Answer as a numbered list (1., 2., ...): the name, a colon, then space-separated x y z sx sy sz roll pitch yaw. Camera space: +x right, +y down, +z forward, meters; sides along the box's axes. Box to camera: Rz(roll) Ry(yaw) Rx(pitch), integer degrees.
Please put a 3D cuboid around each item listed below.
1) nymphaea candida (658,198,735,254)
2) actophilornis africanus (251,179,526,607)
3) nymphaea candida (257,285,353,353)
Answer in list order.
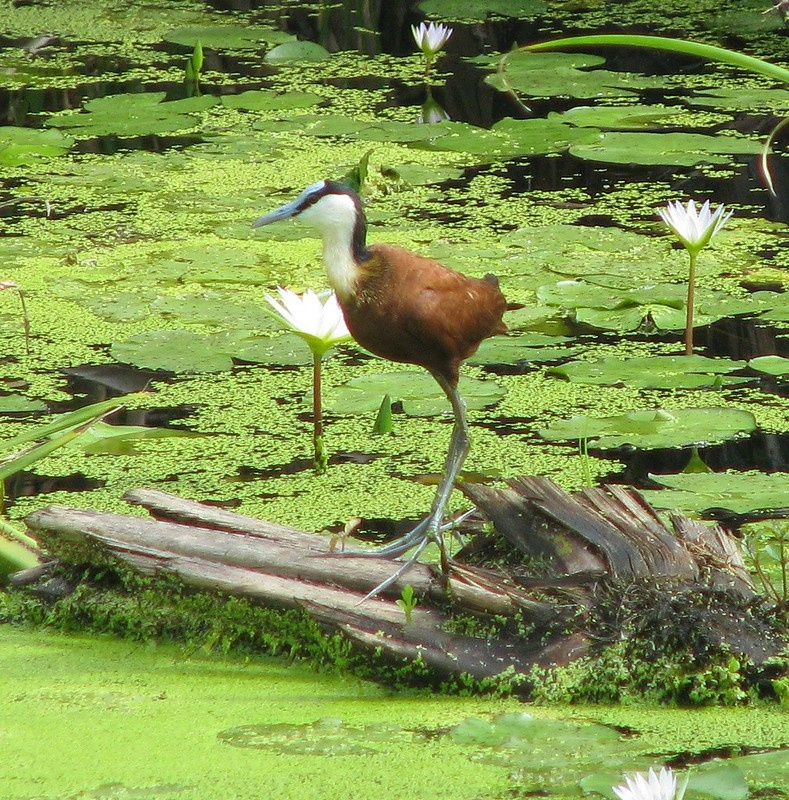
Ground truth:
1. nymphaea candida: 0.972 -0.575 3.686 0.204 0.185 0.321 4 9 11
2. actophilornis africanus: -0.043 -0.031 2.419 0.538 0.881 0.482 3 12 3
3. nymphaea candida: -0.213 -0.235 3.148 0.285 0.108 0.230 -14 20 -37
